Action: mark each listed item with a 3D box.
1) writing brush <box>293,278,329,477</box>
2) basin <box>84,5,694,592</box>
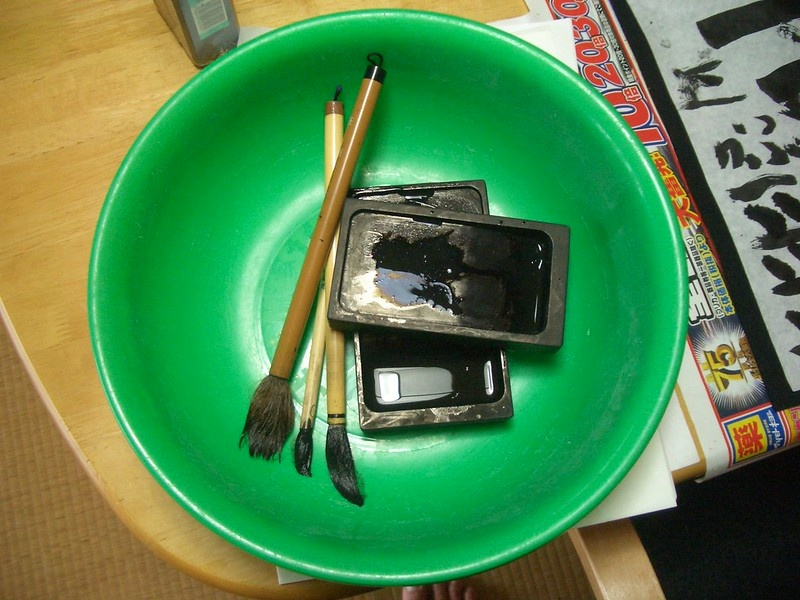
[{"bbox_3d":[-0.128,0.119,1.068,0.042,0.024,0.259,14,75,-30],"label":"writing brush"},{"bbox_3d":[-0.014,-0.021,1.056,0.799,0.178,0.795,0,83,-1],"label":"basin"}]
